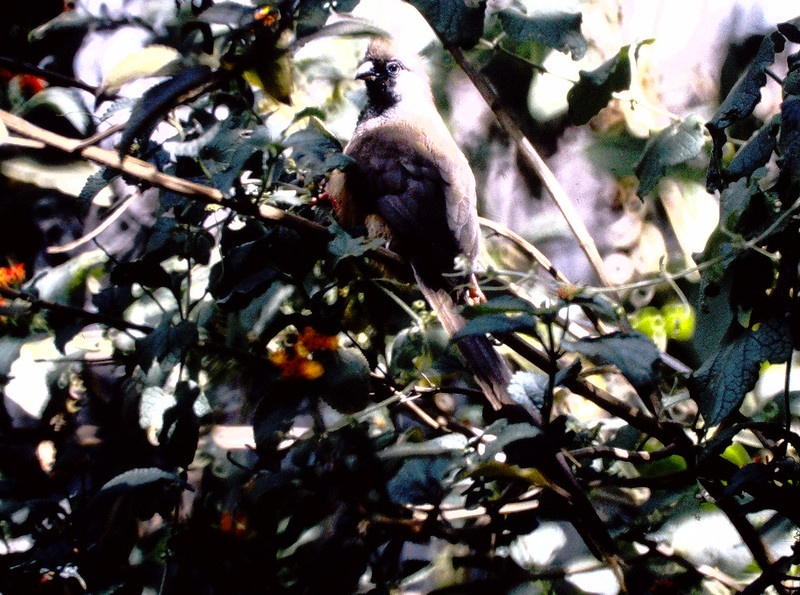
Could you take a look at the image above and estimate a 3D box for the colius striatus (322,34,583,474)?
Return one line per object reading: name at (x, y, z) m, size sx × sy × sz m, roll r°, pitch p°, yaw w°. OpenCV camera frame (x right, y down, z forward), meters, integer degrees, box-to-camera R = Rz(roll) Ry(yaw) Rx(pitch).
colius striatus at (0.017, -0.142, 1.282) m, size 0.191 × 0.654 × 0.260 m, roll -21°, pitch -12°, yaw -9°
